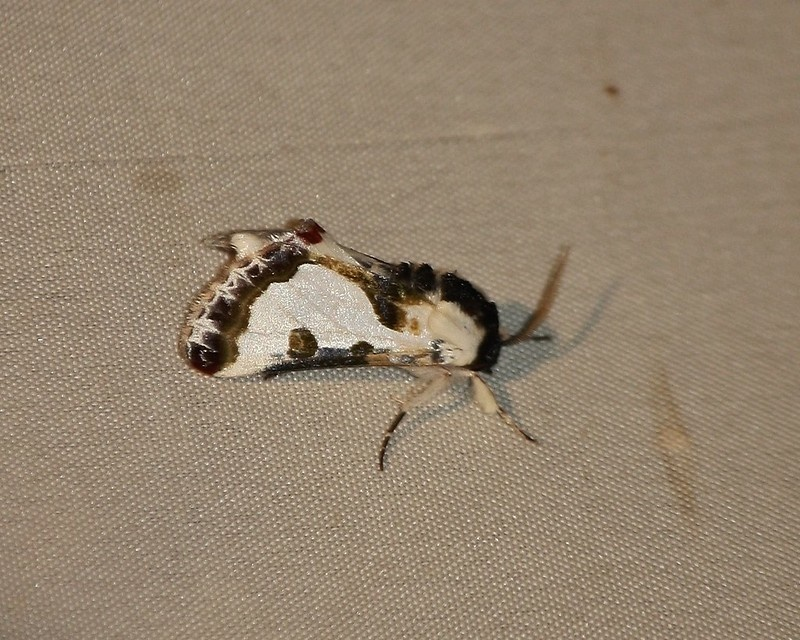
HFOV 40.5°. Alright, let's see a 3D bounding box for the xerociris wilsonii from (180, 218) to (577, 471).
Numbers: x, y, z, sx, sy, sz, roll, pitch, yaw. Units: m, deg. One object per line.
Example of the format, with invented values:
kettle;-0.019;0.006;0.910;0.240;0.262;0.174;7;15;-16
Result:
xerociris wilsonii;-0.115;-0.038;2.056;0.592;0.119;0.288;1;77;-1
